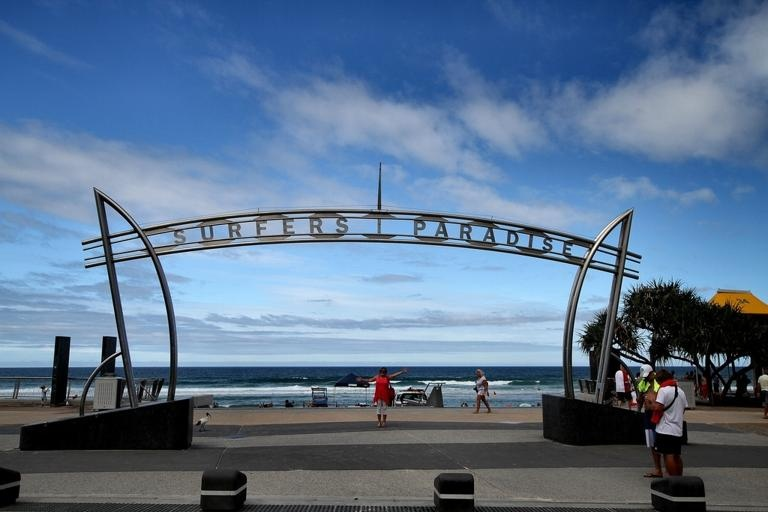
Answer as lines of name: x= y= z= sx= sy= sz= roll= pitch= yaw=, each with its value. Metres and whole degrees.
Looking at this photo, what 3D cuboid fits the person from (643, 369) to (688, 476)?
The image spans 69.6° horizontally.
person: x=5.346 y=3.109 z=10.344 sx=0.532 sy=1.901 sz=0.598 roll=-2 pitch=-7 yaw=33
